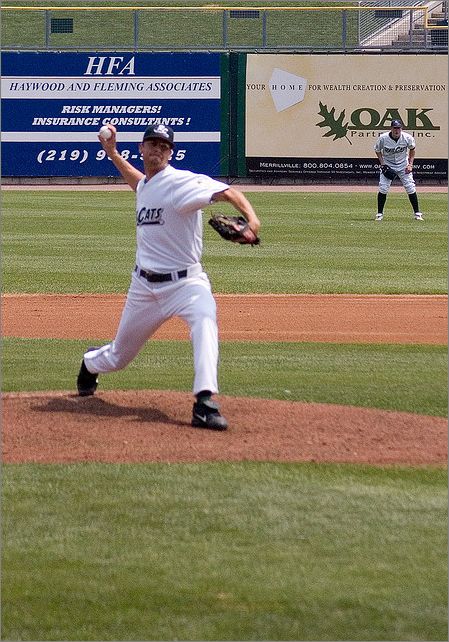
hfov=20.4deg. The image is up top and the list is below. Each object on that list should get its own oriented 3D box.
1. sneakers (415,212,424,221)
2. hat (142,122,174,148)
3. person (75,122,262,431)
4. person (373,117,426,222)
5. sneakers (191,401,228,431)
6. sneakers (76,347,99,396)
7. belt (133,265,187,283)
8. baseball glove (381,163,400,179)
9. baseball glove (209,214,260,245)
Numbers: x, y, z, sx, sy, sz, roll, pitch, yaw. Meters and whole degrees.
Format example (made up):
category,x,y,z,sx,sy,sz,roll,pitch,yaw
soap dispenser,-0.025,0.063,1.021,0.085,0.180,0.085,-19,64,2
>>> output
category,x,y,z,sx,sy,sz,roll,pitch,yaw
sneakers,2.535,-1.377,16.155,0.074,0.107,0.235,0,-1,0
hat,-0.319,-0.905,6.071,0.147,0.119,0.218,0,11,-3
person,-0.272,-0.241,6.177,0.452,1.463,1.171,-8,13,-39
person,2.411,-2.105,17.108,0.652,1.354,2.681,2,11,7
sneakers,-0.074,0.454,6.032,0.085,0.148,0.236,-6,8,-41
sneakers,-0.718,0.286,6.583,0.084,0.289,0.122,1,27,-7
belt,-0.322,-0.230,6.120,0.287,0.073,0.093,6,12,23
baseball glove,2.157,-1.963,16.168,0.229,0.126,0.134,32,11,-50
baseball glove,0.044,-0.462,5.733,0.184,0.076,0.141,29,12,11
